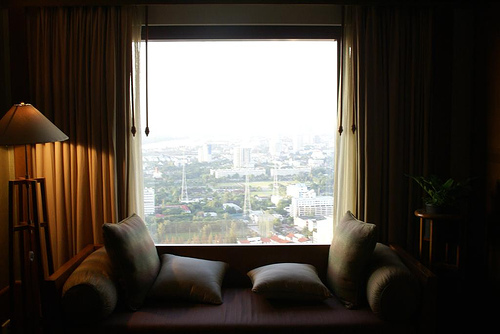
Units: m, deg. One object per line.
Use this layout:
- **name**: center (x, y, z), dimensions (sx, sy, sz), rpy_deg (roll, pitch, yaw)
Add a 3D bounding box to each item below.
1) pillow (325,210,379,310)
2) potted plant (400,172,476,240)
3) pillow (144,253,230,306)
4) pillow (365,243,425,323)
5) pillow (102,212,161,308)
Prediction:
- **pillow**: center (0.893, 0.835, 3.396), dimensions (0.249, 0.729, 0.603), rpy_deg (13, 8, -9)
- **potted plant**: center (1.820, 0.392, 3.760), dimensions (0.598, 0.652, 0.490), rpy_deg (2, 6, 21)
- **pillow**: center (-0.521, 1.002, 3.621), dimensions (0.570, 0.193, 0.629), rpy_deg (6, 9, -2)
- **pillow**: center (1.148, 0.997, 3.319), dimensions (0.405, 0.473, 0.489), rpy_deg (-1, 6, -14)
- **pillow**: center (-1.027, 0.823, 3.350), dimensions (0.278, 0.554, 0.635), rpy_deg (-5, 8, 3)
